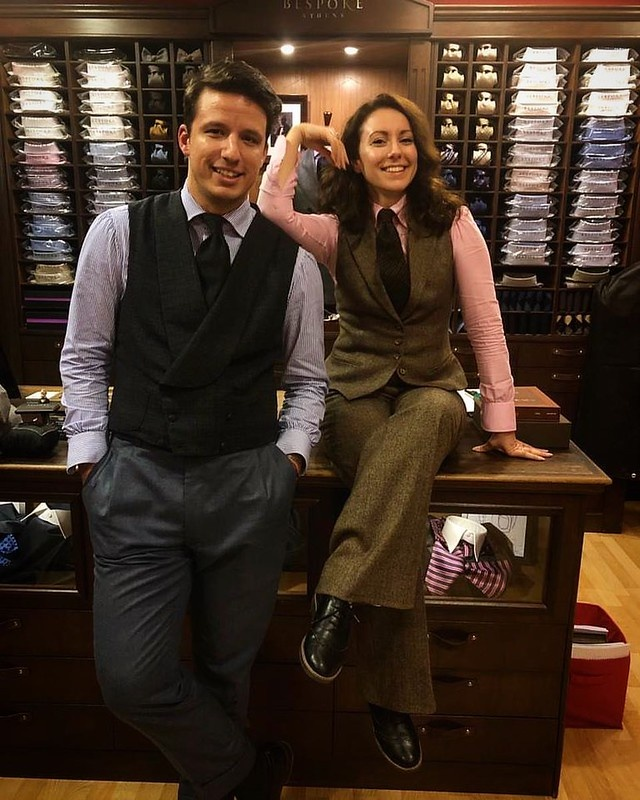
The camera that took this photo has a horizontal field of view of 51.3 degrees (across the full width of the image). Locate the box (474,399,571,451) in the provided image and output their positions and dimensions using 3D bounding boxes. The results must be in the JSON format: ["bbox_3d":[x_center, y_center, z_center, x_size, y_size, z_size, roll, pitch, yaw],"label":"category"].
[{"bbox_3d":[0.577,0.075,1.835,0.148,0.071,0.192,-2,19,5],"label":"box"}]

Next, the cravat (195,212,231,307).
[{"bbox_3d":[-0.209,-0.274,1.290,0.061,0.186,0.032,-4,-20,6],"label":"cravat"}]

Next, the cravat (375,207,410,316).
[{"bbox_3d":[0.185,-0.350,1.708,0.076,0.269,0.032,-12,13,-6],"label":"cravat"}]
